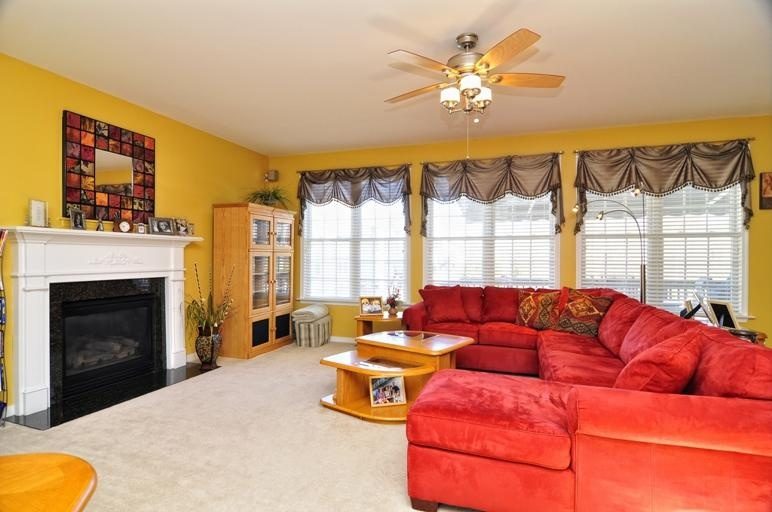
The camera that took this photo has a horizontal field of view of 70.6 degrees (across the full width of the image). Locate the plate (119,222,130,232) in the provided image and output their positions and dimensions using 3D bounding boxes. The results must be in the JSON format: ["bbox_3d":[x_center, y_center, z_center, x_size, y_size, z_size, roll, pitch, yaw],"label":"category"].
[{"bbox_3d":[-3.047,-0.339,6.357,0.029,0.107,0.119,-4,-16,29],"label":"plate"}]

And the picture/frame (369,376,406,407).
[{"bbox_3d":[0.019,1.390,5.622,0.427,0.307,0.027,-1,-13,-3],"label":"picture/frame"}]

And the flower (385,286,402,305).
[{"bbox_3d":[0.096,0.566,7.808,0.254,0.314,0.243,0,0,-3],"label":"flower"}]

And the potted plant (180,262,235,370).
[{"bbox_3d":[-2.320,0.765,7.122,0.579,1.391,0.784,-2,0,14],"label":"potted plant"}]

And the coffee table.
[{"bbox_3d":[0.126,1.199,5.885,0.956,0.445,1.209,-1,-2,36],"label":"coffee table"}]

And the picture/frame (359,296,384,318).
[{"bbox_3d":[-0.194,0.703,7.549,0.331,0.239,0.032,0,-28,3],"label":"picture/frame"}]

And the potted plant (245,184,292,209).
[{"bbox_3d":[-1.795,-0.866,8.252,0.446,0.173,0.439,-1,-1,24],"label":"potted plant"}]

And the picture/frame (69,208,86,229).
[{"bbox_3d":[-3.342,-0.400,5.901,0.149,0.261,0.178,-2,0,-29],"label":"picture/frame"}]

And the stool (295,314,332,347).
[{"bbox_3d":[-1.083,1.122,8.150,0.407,0.297,0.511,0,-1,9],"label":"stool"}]

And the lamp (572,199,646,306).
[{"bbox_3d":[3.125,-0.239,7.272,0.769,0.995,0.327,-16,-13,38],"label":"lamp"}]

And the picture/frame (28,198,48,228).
[{"bbox_3d":[-3.608,-0.449,5.664,0.131,0.319,0.189,-2,0,43],"label":"picture/frame"}]

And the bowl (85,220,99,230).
[{"bbox_3d":[-3.313,-0.353,6.142,0.133,0.052,0.097,2,-3,-28],"label":"bowl"}]

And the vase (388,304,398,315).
[{"bbox_3d":[0.105,0.753,7.540,0.131,0.108,0.121,0,-5,6],"label":"vase"}]

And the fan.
[{"bbox_3d":[0.885,-1.668,5.076,1.097,0.451,1.022,0,-11,1],"label":"fan"}]
